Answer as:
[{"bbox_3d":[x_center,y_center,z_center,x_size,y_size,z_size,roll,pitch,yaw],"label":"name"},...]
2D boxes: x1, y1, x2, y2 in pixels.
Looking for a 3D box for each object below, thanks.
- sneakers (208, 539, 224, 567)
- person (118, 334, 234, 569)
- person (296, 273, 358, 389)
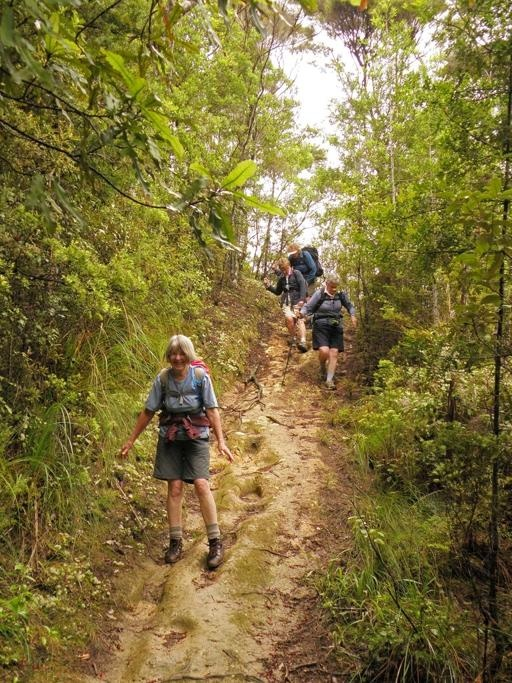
[{"bbox_3d":[-0.318,1.659,4.721,0.123,0.211,0.196,6,1,-2],"label":"sneakers"},{"bbox_3d":[-0.609,0.977,4.773,0.852,1.533,0.269,6,2,7],"label":"person"},{"bbox_3d":[1.148,-0.165,9.372,0.822,1.622,1.128,5,2,-28],"label":"person"}]
